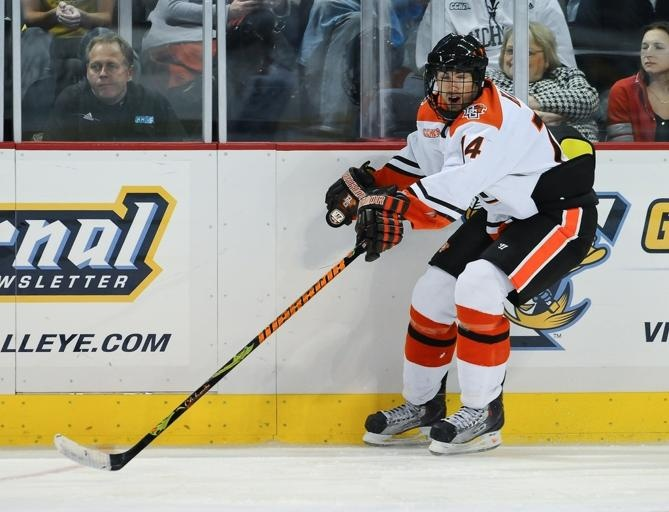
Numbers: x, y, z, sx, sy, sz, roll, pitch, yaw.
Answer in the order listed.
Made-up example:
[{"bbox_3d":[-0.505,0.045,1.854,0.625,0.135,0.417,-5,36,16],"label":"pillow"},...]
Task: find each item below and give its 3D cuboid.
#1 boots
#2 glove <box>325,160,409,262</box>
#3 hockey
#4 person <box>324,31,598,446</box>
[{"bbox_3d":[0.464,0.777,5.301,0.400,0.289,0.459,13,-15,-38],"label":"boots"},{"bbox_3d":[0.133,-0.203,5.225,0.321,0.367,0.511,-1,14,-6],"label":"glove"},{"bbox_3d":[-0.643,0.467,5.412,1.411,0.190,0.241,-36,6,1],"label":"hockey"},{"bbox_3d":[0.565,-0.033,5.221,1.160,1.859,0.531,3,15,10],"label":"person"}]
